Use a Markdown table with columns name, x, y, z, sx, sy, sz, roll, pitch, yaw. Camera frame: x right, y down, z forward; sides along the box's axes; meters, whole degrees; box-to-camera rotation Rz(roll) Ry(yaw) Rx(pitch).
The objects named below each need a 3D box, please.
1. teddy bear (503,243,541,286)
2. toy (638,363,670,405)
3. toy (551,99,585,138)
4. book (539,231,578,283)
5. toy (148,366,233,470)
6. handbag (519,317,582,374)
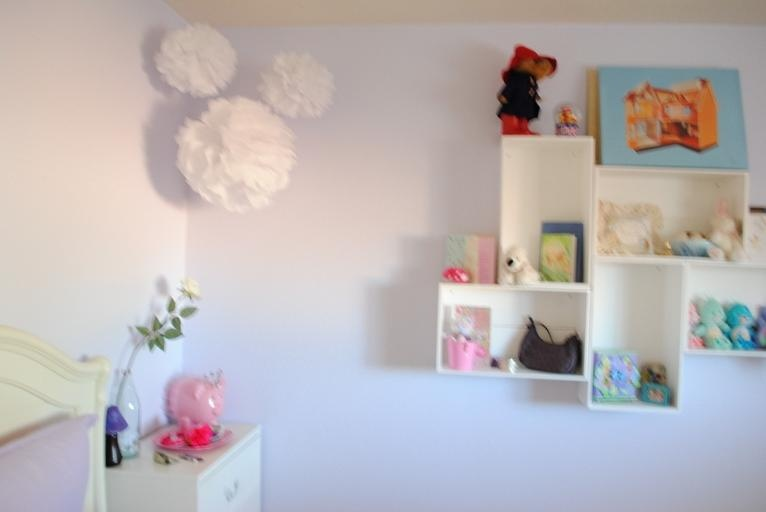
| name | x | y | z | sx | sy | sz | roll | pitch | yaw |
| --- | --- | --- | --- | --- | --- | --- | --- | --- | --- |
| teddy bear | 0.705 | 0.048 | 3.037 | 0.176 | 0.169 | 0.192 | -5 | -12 | 24 |
| toy | 1.427 | 0.672 | 3.128 | 0.130 | 0.223 | 0.119 | -1 | 0 | -8 |
| toy | 0.961 | -0.725 | 3.165 | 0.177 | 0.206 | 0.180 | -1 | 5 | 3 |
| book | 0.912 | 0.012 | 3.098 | 0.237 | 0.331 | 0.232 | 0 | -6 | 6 |
| toy | -0.970 | 0.805 | 3.102 | 0.393 | 0.404 | 0.379 | -3 | 9 | -45 |
| handbag | 0.895 | 0.481 | 3.144 | 0.285 | 0.259 | 0.112 | 3 | 3 | 27 |
